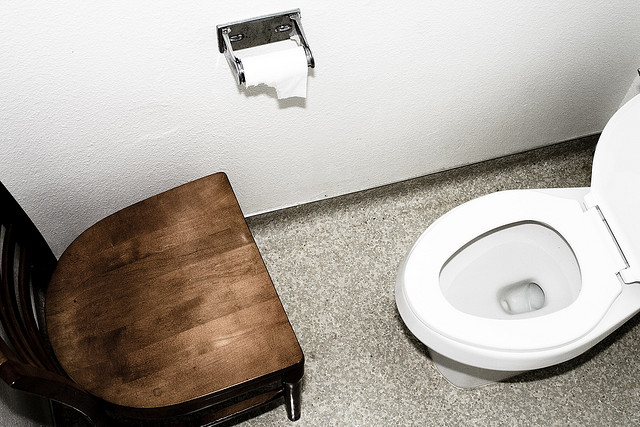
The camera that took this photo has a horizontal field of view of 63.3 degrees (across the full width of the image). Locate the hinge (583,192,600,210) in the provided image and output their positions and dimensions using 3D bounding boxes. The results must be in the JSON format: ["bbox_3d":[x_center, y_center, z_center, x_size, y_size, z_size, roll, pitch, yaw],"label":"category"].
[{"bbox_3d":[0.777,-0.037,1.499,0.023,0.036,0.050,2,60,-42],"label":"hinge"}]

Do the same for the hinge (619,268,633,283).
[{"bbox_3d":[0.836,0.169,1.422,0.014,0.026,0.038,-15,44,-6],"label":"hinge"}]

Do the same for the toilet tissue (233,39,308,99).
[{"bbox_3d":[-0.122,-0.370,1.367,0.172,0.133,0.104,-17,44,-8],"label":"toilet tissue"}]
